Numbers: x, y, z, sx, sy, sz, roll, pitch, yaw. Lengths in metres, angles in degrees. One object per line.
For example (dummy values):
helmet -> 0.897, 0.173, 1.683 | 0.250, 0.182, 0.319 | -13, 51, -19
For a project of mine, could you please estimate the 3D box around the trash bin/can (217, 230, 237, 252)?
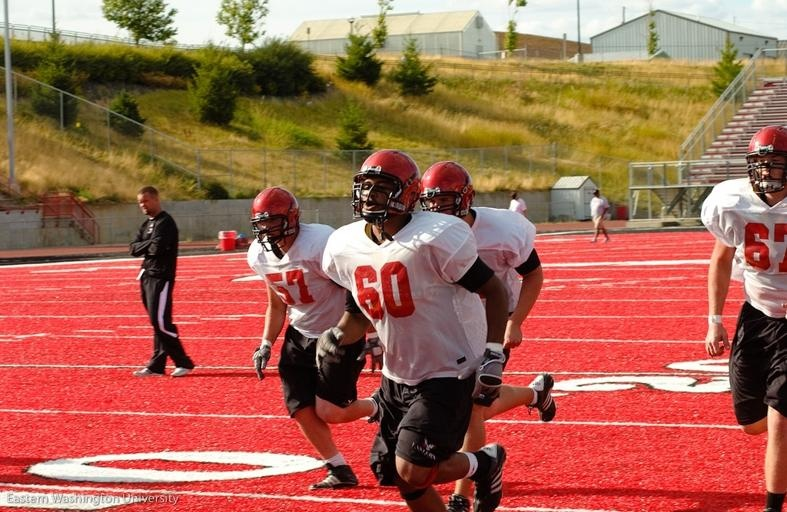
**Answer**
trash bin/can -> -5.311, -0.500, 36.269 | 0.601, 0.602, 1.128 | -1, 10, -8

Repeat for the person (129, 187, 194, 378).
person -> -3.679, 0.386, 17.895 | 0.911, 2.921, 1.017 | -2, 12, -11

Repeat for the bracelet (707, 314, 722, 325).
bracelet -> 4.001, 0.764, 13.926 | 0.144, 0.067, 0.136 | 0, 2, 30

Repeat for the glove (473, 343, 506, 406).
glove -> 1.181, 1.347, 13.353 | 0.337, 0.343, 0.852 | 10, 21, 5
